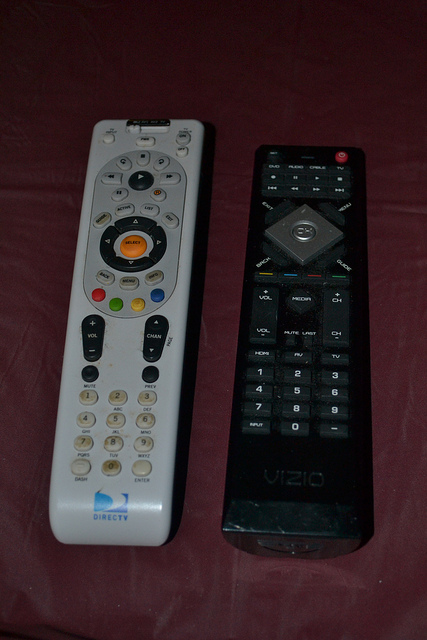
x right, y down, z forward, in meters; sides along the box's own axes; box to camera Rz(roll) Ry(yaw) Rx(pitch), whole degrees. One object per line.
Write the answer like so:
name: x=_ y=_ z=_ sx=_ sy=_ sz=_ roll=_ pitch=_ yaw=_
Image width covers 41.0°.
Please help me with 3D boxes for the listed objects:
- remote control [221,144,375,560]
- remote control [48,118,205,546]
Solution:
remote control: x=0.058 y=-0.002 z=0.372 sx=0.084 sy=0.063 sz=0.271 roll=1 pitch=61 yaw=10
remote control: x=-0.039 y=0.004 z=0.355 sx=0.070 sy=0.060 sz=0.250 roll=1 pitch=69 yaw=7
